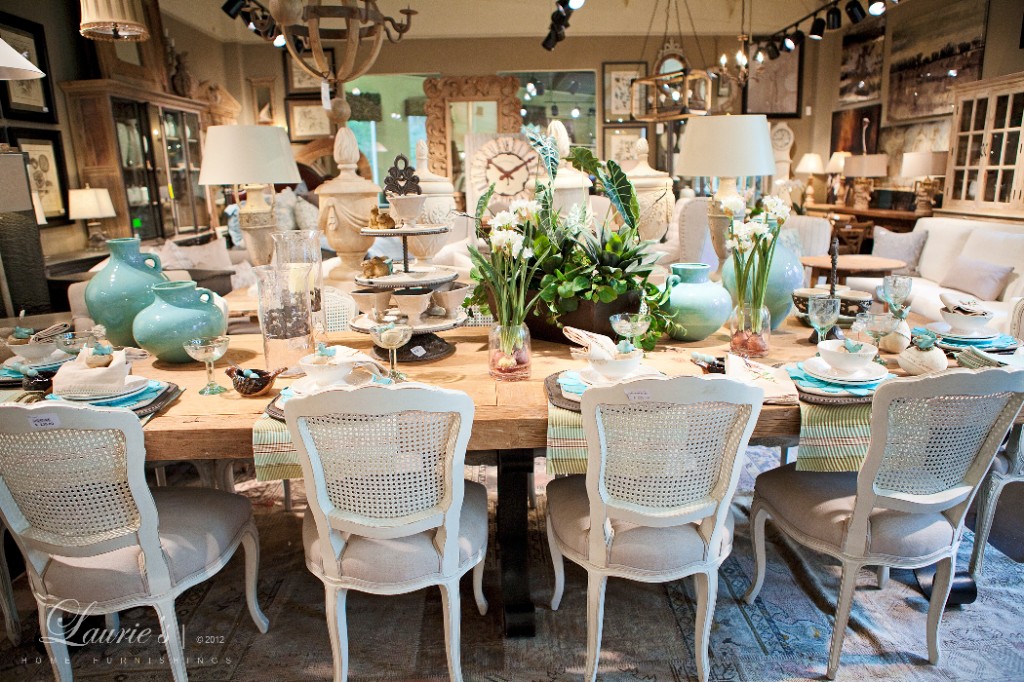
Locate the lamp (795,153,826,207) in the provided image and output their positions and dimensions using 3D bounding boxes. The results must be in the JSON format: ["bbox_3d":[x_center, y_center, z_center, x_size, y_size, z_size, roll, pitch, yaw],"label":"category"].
[{"bbox_3d":[4.469,-2.428,10.250,0.442,0.773,1.125,7,17,23],"label":"lamp"}]

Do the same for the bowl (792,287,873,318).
[{"bbox_3d":[1.478,-0.191,3.128,0.248,0.094,0.270,-1,4,0],"label":"bowl"}]

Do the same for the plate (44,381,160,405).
[{"bbox_3d":[-1.434,0.196,2.484,0.174,0.019,0.186,4,6,22],"label":"plate"}]

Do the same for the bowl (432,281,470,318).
[{"bbox_3d":[-0.263,-0.175,2.998,0.172,0.147,0.166,-4,18,1],"label":"bowl"}]

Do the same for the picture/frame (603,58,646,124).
[{"bbox_3d":[1.586,-3.539,9.719,0.613,0.798,0.182,1,17,6],"label":"picture/frame"}]

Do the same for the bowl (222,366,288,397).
[{"bbox_3d":[-0.976,0.149,2.585,0.185,0.069,0.099,1,5,3],"label":"bowl"}]

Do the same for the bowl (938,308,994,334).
[{"bbox_3d":[1.943,-0.086,2.877,0.237,0.089,0.139,0,16,2],"label":"bowl"}]

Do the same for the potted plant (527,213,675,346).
[{"bbox_3d":[0.389,-0.249,2.986,0.540,0.387,0.497,6,8,42],"label":"potted plant"}]

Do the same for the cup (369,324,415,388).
[{"bbox_3d":[-0.471,0.024,2.676,0.150,0.232,0.450,-4,16,-12],"label":"cup"}]

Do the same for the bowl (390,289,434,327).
[{"bbox_3d":[-0.422,-0.143,2.850,0.161,0.107,0.142,-2,12,-7],"label":"bowl"}]

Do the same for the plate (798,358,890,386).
[{"bbox_3d":[1.218,0.115,2.530,0.161,0.027,0.156,-4,16,-18],"label":"plate"}]

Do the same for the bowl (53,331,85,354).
[{"bbox_3d":[-1.796,-0.009,2.762,0.097,0.068,0.093,6,20,-2],"label":"bowl"}]

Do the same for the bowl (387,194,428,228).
[{"bbox_3d":[-0.535,-0.665,3.502,0.208,0.150,0.188,-5,14,-11],"label":"bowl"}]

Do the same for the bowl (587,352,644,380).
[{"bbox_3d":[0.383,0.088,2.469,0.126,0.066,0.122,0,13,0],"label":"bowl"}]

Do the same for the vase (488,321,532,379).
[{"bbox_3d":[0.008,0.026,2.756,0.169,0.180,0.165,2,-4,19],"label":"vase"}]

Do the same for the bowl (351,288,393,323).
[{"bbox_3d":[-0.593,-0.160,2.838,0.153,0.112,0.135,0,17,-5],"label":"bowl"}]

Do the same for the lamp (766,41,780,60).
[{"bbox_3d":[3.283,-3.684,8.555,0.118,0.254,0.642,5,16,18],"label":"lamp"}]

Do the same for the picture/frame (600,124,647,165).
[{"bbox_3d":[1.616,-2.829,9.838,0.629,0.531,0.286,1,17,5],"label":"picture/frame"}]

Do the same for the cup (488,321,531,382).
[{"bbox_3d":[-0.013,0.050,2.684,0.209,0.223,0.203,0,3,0],"label":"cup"}]

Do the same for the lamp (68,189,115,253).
[{"bbox_3d":[-4.086,-1.191,6.624,0.391,0.580,0.518,-10,19,-28],"label":"lamp"}]

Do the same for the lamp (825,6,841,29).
[{"bbox_3d":[3.374,-3.381,7.113,0.115,0.267,0.253,5,17,17],"label":"lamp"}]

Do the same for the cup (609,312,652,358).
[{"bbox_3d":[0.445,-0.039,2.583,0.182,0.177,0.169,-1,20,0],"label":"cup"}]

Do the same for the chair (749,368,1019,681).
[{"bbox_3d":[1.326,0.642,2.502,0.834,1.190,0.397,6,18,20],"label":"chair"}]

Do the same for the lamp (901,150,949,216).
[{"bbox_3d":[4.779,-1.846,7.912,0.423,0.691,0.866,9,19,29],"label":"lamp"}]

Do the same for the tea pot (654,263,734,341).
[{"bbox_3d":[0.820,-0.207,3.105,0.331,0.310,0.356,-1,14,0],"label":"tea pot"}]

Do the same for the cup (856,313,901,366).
[{"bbox_3d":[1.445,-0.009,2.668,0.178,0.194,0.168,-3,21,1],"label":"cup"}]

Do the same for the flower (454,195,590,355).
[{"bbox_3d":[0.056,-0.293,2.860,0.683,0.670,0.605,0,13,6],"label":"flower"}]

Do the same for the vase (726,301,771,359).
[{"bbox_3d":[1.021,-0.037,2.926,0.171,0.240,0.174,-1,-7,27],"label":"vase"}]

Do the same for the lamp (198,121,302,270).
[{"bbox_3d":[-1.502,-0.857,4.047,0.491,0.792,0.943,-2,16,-4],"label":"lamp"}]
